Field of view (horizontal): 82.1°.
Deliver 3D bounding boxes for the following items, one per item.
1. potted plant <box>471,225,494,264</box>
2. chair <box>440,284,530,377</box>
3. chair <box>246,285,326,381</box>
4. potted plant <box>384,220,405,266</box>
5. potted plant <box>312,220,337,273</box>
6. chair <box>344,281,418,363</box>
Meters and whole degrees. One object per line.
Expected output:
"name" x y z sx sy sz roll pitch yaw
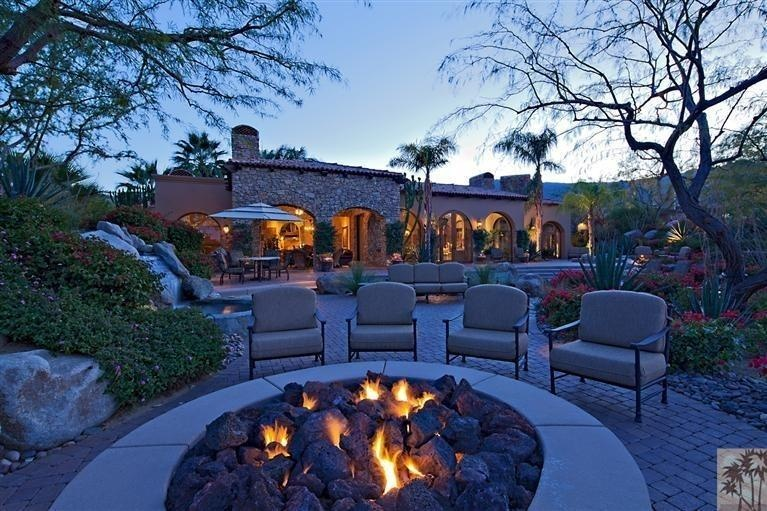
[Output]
"potted plant" 5.133 -0.623 22.489 1.391 1.409 0.769 -3 1 -43
"chair" 1.649 1.092 6.854 1.243 1.202 1.009 1 3 45
"chair" -1.510 1.220 6.875 1.077 1.517 0.854 -2 2 -16
"potted plant" 0.571 -0.708 19.898 0.917 1.658 0.385 -3 1 -21
"potted plant" -2.424 -0.465 18.388 0.941 1.990 1.084 -3 1 -10
"chair" 0.008 1.088 6.969 1.053 1.387 1.009 0 -3 2
